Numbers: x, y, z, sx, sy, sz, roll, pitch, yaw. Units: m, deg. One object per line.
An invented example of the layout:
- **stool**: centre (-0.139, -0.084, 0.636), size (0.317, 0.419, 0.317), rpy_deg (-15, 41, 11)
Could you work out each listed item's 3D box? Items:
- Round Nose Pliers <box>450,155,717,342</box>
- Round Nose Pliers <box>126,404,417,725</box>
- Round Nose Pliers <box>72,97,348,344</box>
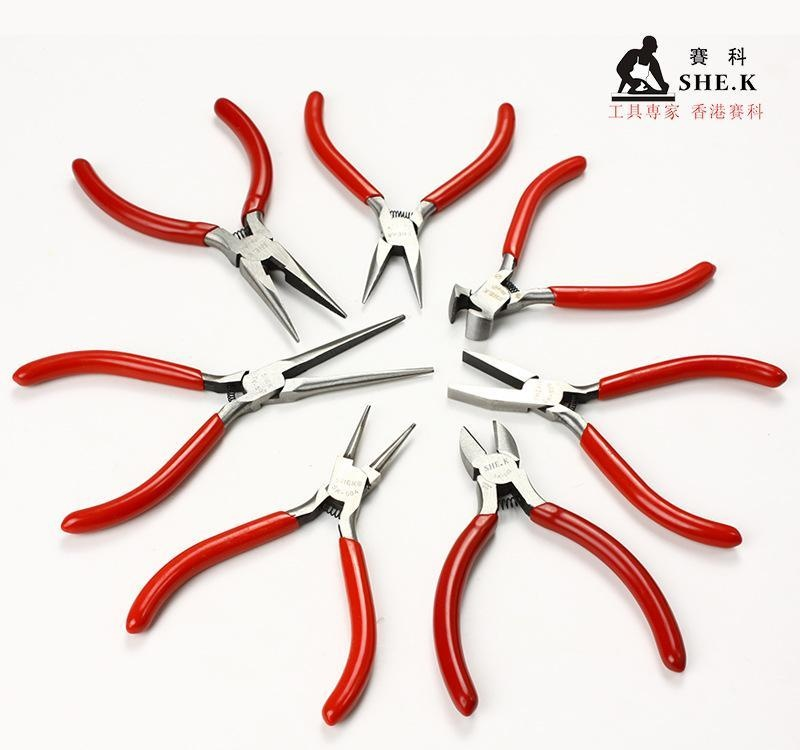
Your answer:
- **Round Nose Pliers**: centre (0.333, -0.221, 1.717), size (0.482, 0.069, 0.557), rpy_deg (23, -29, -30)
- **Round Nose Pliers**: centre (-0.146, 0.281, 1.510), size (0.382, 0.049, 0.673), rpy_deg (15, 31, 14)
- **Round Nose Pliers**: centre (-0.380, -0.330, 1.873), size (0.408, 0.078, 0.709), rpy_deg (-19, -37, 18)
